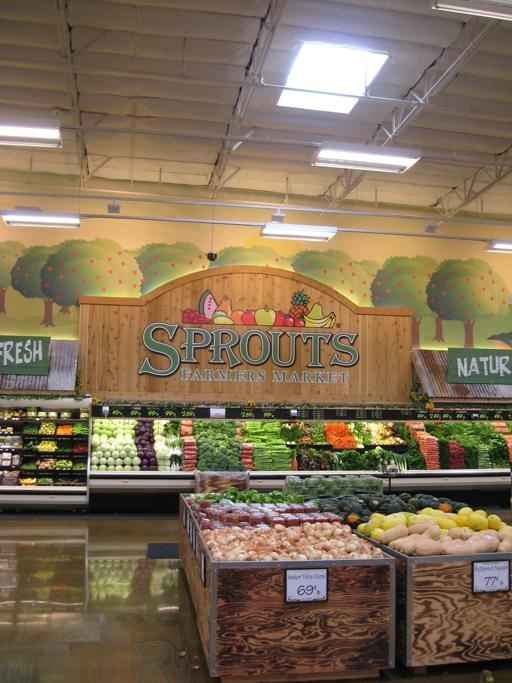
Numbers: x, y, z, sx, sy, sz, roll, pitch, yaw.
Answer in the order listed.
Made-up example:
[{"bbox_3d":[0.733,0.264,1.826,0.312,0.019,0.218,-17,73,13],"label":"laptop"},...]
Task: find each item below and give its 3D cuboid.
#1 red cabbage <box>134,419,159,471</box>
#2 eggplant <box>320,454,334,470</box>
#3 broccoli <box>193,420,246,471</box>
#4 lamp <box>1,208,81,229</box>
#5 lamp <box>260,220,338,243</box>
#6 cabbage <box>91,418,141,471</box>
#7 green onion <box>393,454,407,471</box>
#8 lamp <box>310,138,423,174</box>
[{"bbox_3d":[-1.720,1.591,8.384,0.429,0.713,0.229,-15,7,4],"label":"red cabbage"},{"bbox_3d":[1.125,1.892,8.414,0.227,0.204,0.079,3,-18,-3],"label":"eggplant"},{"bbox_3d":[-0.582,1.621,8.325,0.582,0.221,0.767,2,23,-6],"label":"broccoli"},{"bbox_3d":[-3.277,-1.884,8.203,1.109,0.177,0.498,-1,-6,-7],"label":"lamp"},{"bbox_3d":[0.699,-1.955,9.460,0.878,0.155,0.576,2,-1,-11],"label":"lamp"},{"bbox_3d":[-2.181,1.587,8.332,0.735,0.758,0.847,0,-7,-14],"label":"cabbage"},{"bbox_3d":[2.326,1.930,8.578,0.307,0.255,0.165,3,-8,-37],"label":"green onion"},{"bbox_3d":[1.174,-1.986,5.817,1.057,0.147,0.516,-1,-6,-8],"label":"lamp"}]
